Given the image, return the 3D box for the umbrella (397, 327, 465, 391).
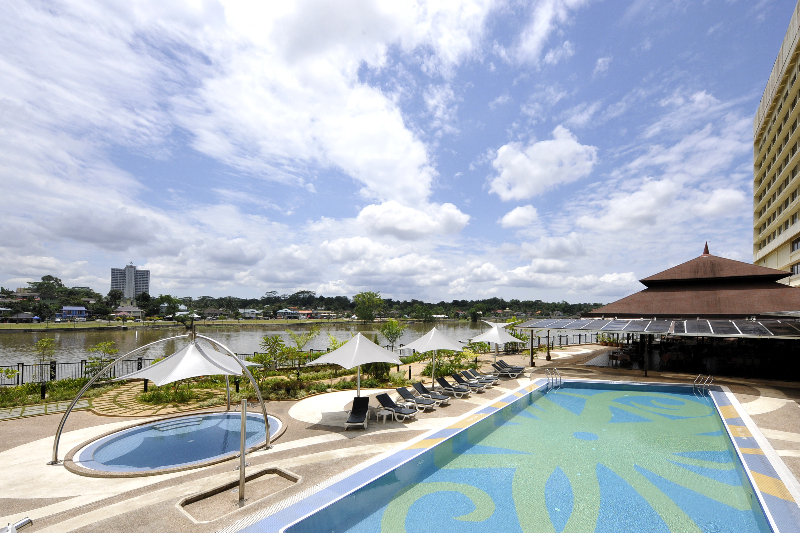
[{"bbox_3d":[2.037,6.736,29.085,4.612,3.643,4.585,0,-3,8],"label":"umbrella"}]
